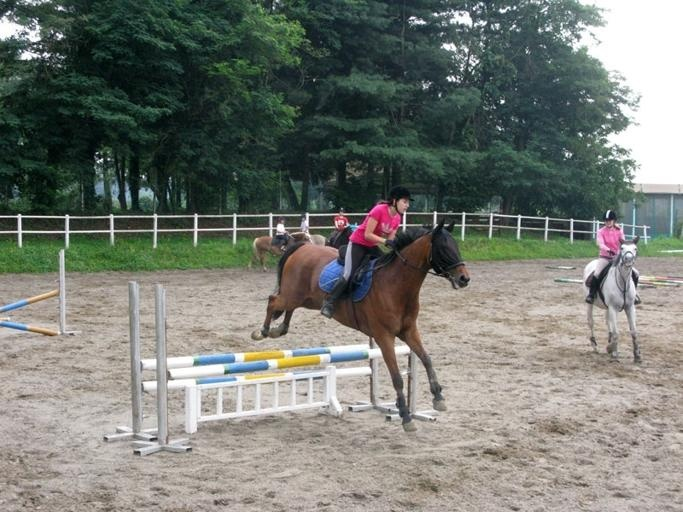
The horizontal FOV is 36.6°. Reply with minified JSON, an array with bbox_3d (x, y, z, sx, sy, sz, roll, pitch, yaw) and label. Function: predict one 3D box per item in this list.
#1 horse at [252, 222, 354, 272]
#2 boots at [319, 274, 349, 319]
[{"bbox_3d":[-2.275,-0.356,39.669,3.789,1.976,2.096,-5,10,-36],"label":"horse"},{"bbox_3d":[-0.174,1.058,26.991,0.445,1.404,0.407,26,0,-8],"label":"boots"}]
